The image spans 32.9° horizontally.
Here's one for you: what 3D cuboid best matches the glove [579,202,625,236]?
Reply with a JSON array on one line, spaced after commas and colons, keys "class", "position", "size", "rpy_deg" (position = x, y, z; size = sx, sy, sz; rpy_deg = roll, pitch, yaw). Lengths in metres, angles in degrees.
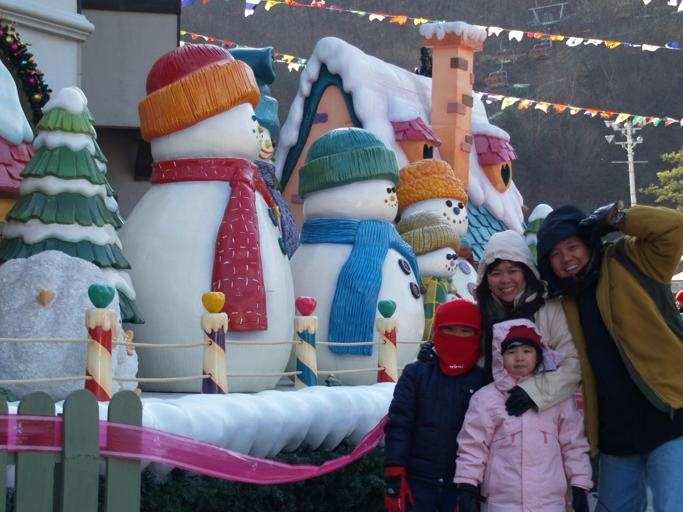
[{"class": "glove", "position": [1.692, -0.246, 7.584], "size": [0.249, 0.117, 0.206], "rpy_deg": [-15, -20, -48]}]
